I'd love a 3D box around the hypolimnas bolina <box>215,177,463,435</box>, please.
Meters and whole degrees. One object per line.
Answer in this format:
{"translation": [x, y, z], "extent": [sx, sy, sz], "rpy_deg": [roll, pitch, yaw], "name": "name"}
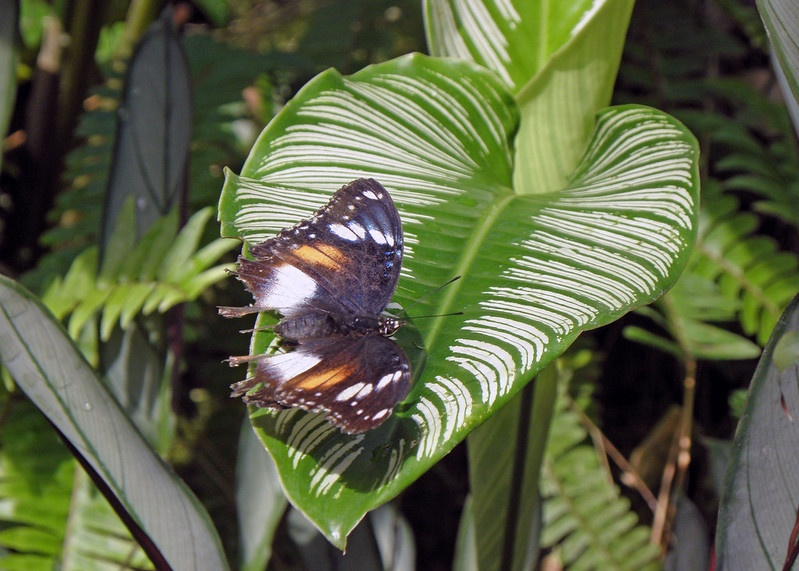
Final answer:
{"translation": [-0.112, 0.058, 1.849], "extent": [0.333, 0.410, 0.179], "rpy_deg": [-1, -27, -2], "name": "hypolimnas bolina"}
